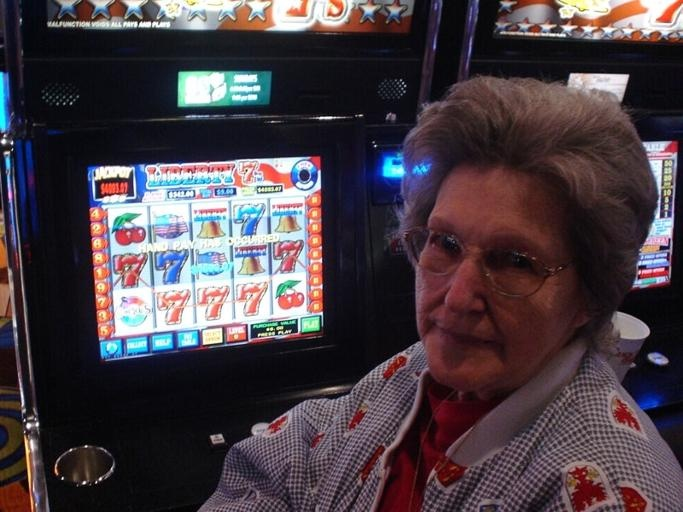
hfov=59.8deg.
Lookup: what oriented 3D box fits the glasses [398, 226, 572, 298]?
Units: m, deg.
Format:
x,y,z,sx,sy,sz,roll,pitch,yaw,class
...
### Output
x,y,z,sx,sy,sz,roll,pitch,yaw,class
0.268,-0.003,1.249,0.146,0.123,0.373,-15,16,-34,glasses
